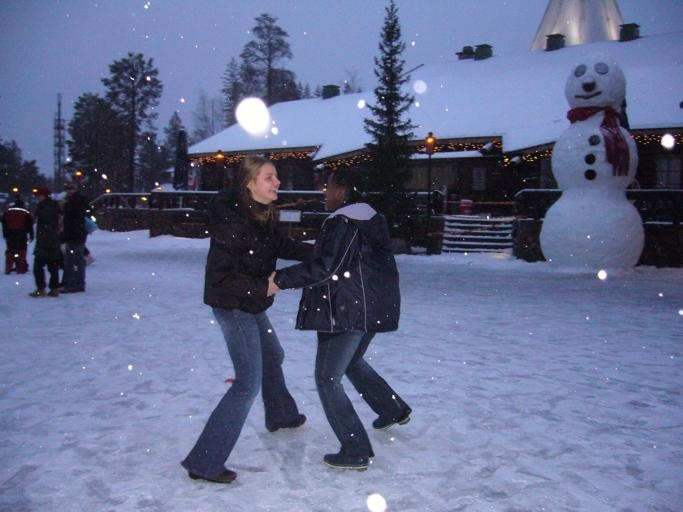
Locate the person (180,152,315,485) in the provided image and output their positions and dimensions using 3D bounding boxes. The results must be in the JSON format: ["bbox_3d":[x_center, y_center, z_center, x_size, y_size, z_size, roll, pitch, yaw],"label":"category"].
[{"bbox_3d":[-0.873,0.505,5.808,0.581,2.709,1.232,6,12,26],"label":"person"}]

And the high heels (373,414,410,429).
[{"bbox_3d":[0.463,1.588,6.406,0.399,0.174,0.152,-2,2,-12],"label":"high heels"}]

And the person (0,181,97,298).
[{"bbox_3d":[-5.174,-0.249,12.157,1.056,1.941,1.075,-2,12,-15],"label":"person"}]

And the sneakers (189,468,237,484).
[{"bbox_3d":[-1.099,1.869,5.649,0.381,0.122,0.155,-1,-6,3],"label":"sneakers"}]
